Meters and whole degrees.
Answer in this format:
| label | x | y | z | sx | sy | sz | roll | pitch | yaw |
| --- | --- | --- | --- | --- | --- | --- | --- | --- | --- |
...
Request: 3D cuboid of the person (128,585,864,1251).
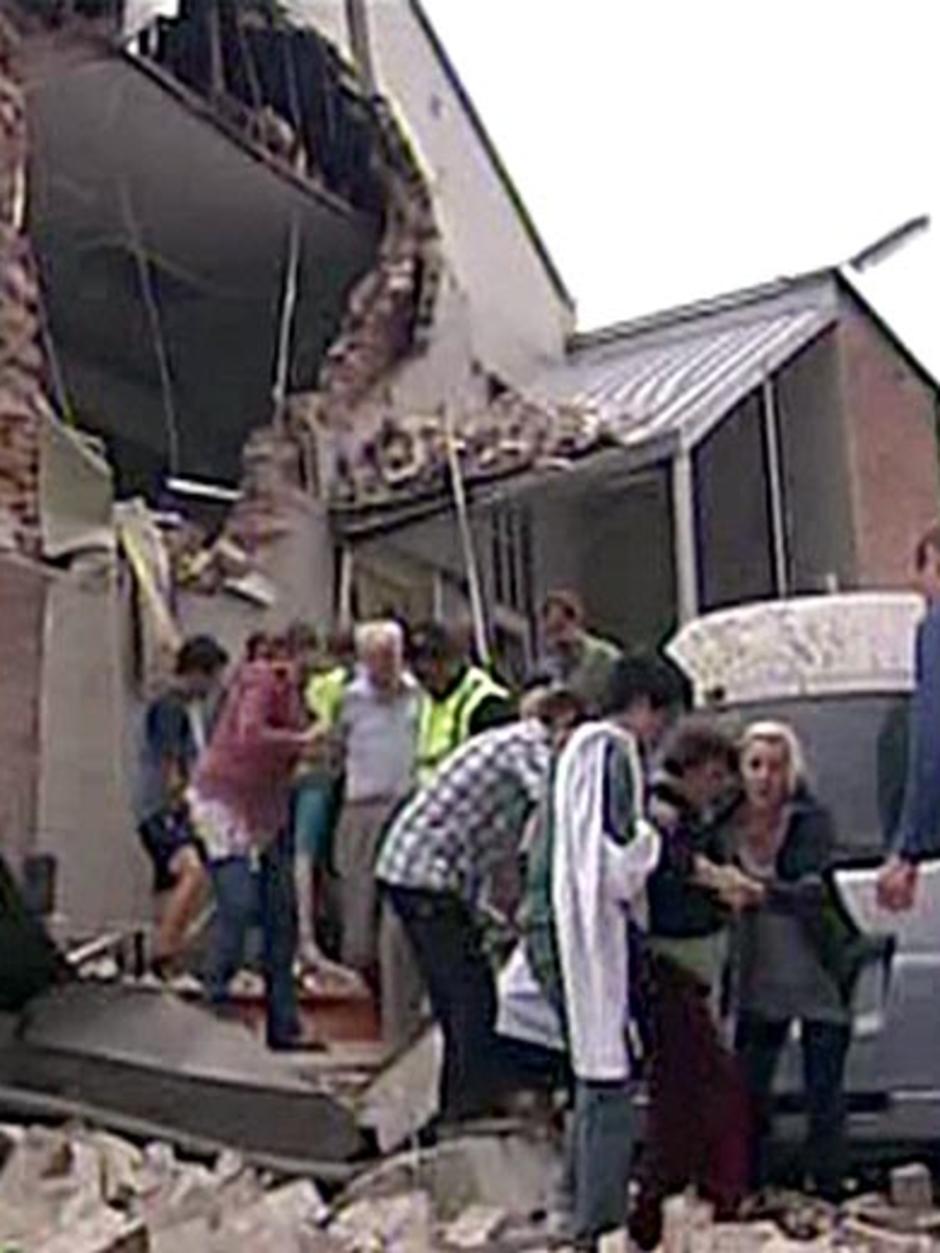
| label | x | y | z | sx | sy | sz | roll | pitch | yaw |
| --- | --- | --- | --- | --- | --- | --- | --- | --- | --- |
| person | 0.115 | 0.625 | 2.858 | 1.538 | 1.292 | 0.356 | 4 | 4 | 12 |
